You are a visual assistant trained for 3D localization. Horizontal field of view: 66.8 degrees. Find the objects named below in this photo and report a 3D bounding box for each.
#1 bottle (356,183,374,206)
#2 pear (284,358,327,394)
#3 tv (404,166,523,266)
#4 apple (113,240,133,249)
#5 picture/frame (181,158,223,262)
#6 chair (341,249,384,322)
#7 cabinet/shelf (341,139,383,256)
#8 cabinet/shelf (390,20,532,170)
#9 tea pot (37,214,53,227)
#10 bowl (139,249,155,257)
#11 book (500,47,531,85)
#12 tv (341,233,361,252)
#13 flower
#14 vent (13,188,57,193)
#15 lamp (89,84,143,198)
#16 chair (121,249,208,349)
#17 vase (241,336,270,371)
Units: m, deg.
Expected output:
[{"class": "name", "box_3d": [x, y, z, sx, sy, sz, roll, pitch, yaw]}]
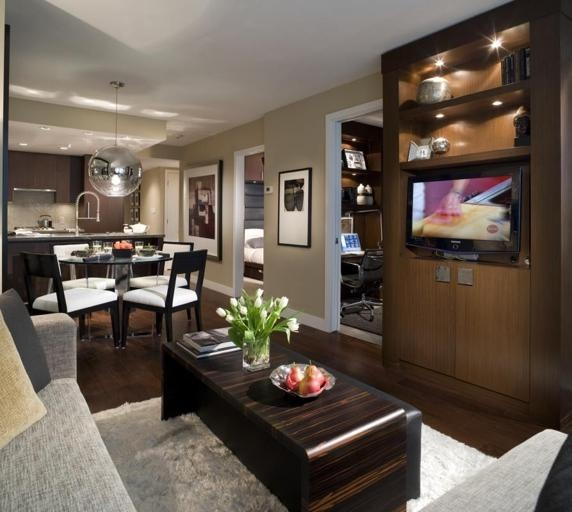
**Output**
[{"class": "bottle", "box_3d": [1.099, -0.837, 5.989, 0.446, 0.280, 0.204, -5, 8, -40]}, {"class": "pear", "box_3d": [0.085, 0.513, 1.893, 0.127, 0.069, 0.131, 0, 2, 5]}, {"class": "tv", "box_3d": [1.274, -0.286, 3.044, 0.078, 0.562, 0.729, -1, 2, -38]}, {"class": "apple", "box_3d": [-1.560, -0.096, 4.098, 0.150, 0.066, 0.187, -3, 8, -34]}, {"class": "picture/frame", "box_3d": [-1.391, -0.762, 7.162, 0.068, 1.618, 1.466, -2, 6, -33]}, {"class": "chair", "box_3d": [0.907, 0.281, 5.117, 0.516, 0.775, 0.549, 3, 6, 30]}, {"class": "cabinet/shelf", "box_3d": [0.996, -0.879, 6.051, 0.843, 1.510, 0.401, 7, -2, -38]}, {"class": "cabinet/shelf", "box_3d": [1.378, -1.145, 3.353, 1.033, 0.895, 0.345, -7, 13, -13]}, {"class": "tea pot", "box_3d": [-4.261, -0.607, 7.628, 0.253, 0.265, 0.140, -2, 6, -30]}, {"class": "bowl", "box_3d": [-1.364, -0.032, 4.220, 0.082, 0.053, 0.090, 0, 3, 0]}, {"class": "book", "box_3d": [1.451, -1.195, 2.763, 0.089, 0.220, 0.228, -1, 7, -19]}, {"class": "tv", "box_3d": [0.889, -0.184, 5.997, 0.351, 0.243, 0.073, -2, -9, -34]}, {"class": "flower", "box_3d": [-0.151, 0.352, 2.183, 0.315, 0.299, 0.371, 15, -5, -10]}, {"class": "vent", "box_3d": [-4.297, -1.125, 7.392, 0.626, 0.072, 0.385, -3, 8, -33]}, {"class": "lamp", "box_3d": [-1.717, -1.184, 4.376, 0.499, 1.159, 0.512, 3, 3, 24]}, {"class": "chair", "box_3d": [-1.195, 0.382, 3.843, 0.479, 0.717, 0.428, 6, -7, -17]}, {"class": "vase", "box_3d": [-0.166, 0.486, 2.211, 0.149, 0.170, 0.149, -1, -5, 10]}]
